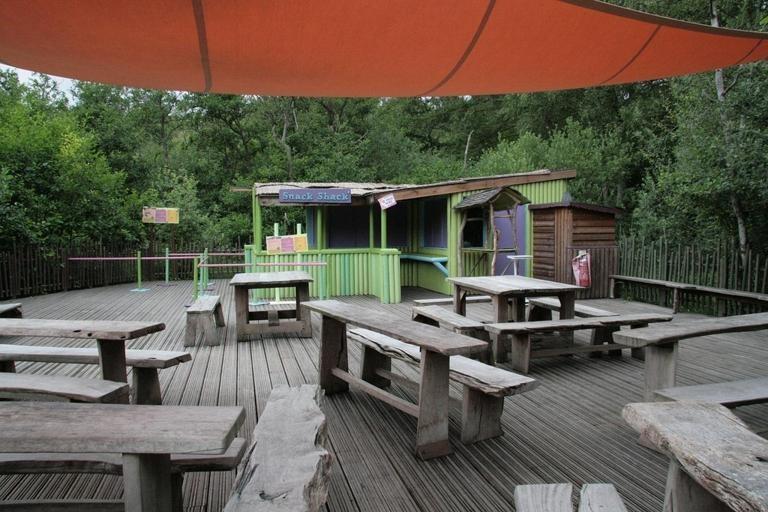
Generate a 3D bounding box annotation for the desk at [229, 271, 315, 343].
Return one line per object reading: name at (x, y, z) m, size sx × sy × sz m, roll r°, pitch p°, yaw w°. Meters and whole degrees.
desk at (-1.893, 0.877, 8.899) m, size 1.255 × 0.907 × 1.239 m, roll -2°, pitch -2°, yaw -14°

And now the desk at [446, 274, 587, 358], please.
desk at (1.945, 0.815, 8.068) m, size 1.273 × 0.847 × 1.698 m, roll -3°, pitch 4°, yaw -21°
